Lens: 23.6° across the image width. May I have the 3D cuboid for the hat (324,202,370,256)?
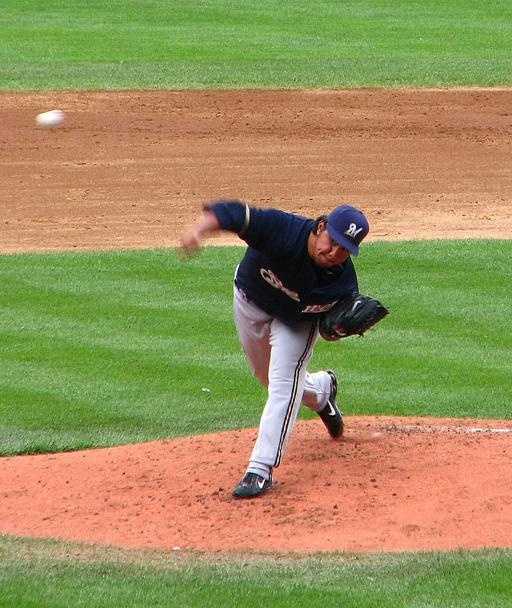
[{"bbox_3d":[0.570,-0.458,7.941,0.258,0.322,0.335,7,10,10],"label":"hat"}]

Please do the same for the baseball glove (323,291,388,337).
[{"bbox_3d":[0.624,0.148,8.224,0.379,0.155,0.284,-34,-28,24],"label":"baseball glove"}]
